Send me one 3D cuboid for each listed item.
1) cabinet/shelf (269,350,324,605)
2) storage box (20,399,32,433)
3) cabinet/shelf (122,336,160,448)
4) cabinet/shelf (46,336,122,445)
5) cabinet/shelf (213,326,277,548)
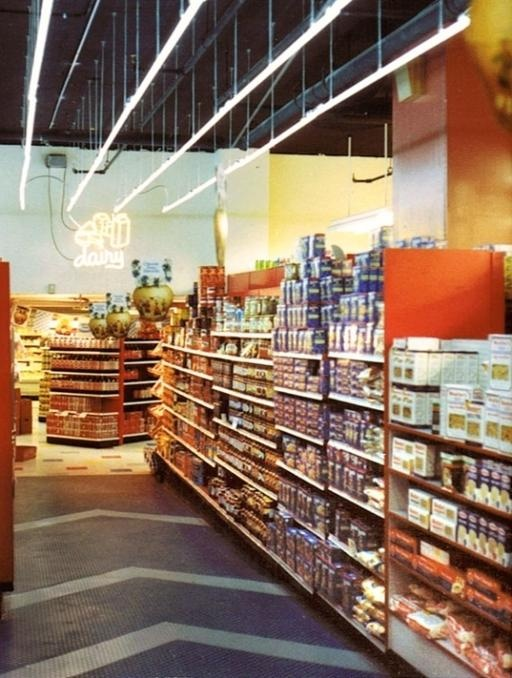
[{"bbox_3d":[0.311,0.869,3.914,0.283,1.523,0.921,0,-4,-8],"label":"cabinet/shelf"},{"bbox_3d":[-4.507,1.523,10.870,0.217,0.658,0.237,1,-4,-23],"label":"storage box"},{"bbox_3d":[-2.111,1.016,10.008,0.629,1.833,1.870,0,-2,-15],"label":"cabinet/shelf"},{"bbox_3d":[-3.000,0.955,9.816,1.695,2.474,0.831,-3,-6,44],"label":"cabinet/shelf"},{"bbox_3d":[-0.091,0.885,4.977,0.562,1.754,1.788,1,-4,-9],"label":"cabinet/shelf"}]
